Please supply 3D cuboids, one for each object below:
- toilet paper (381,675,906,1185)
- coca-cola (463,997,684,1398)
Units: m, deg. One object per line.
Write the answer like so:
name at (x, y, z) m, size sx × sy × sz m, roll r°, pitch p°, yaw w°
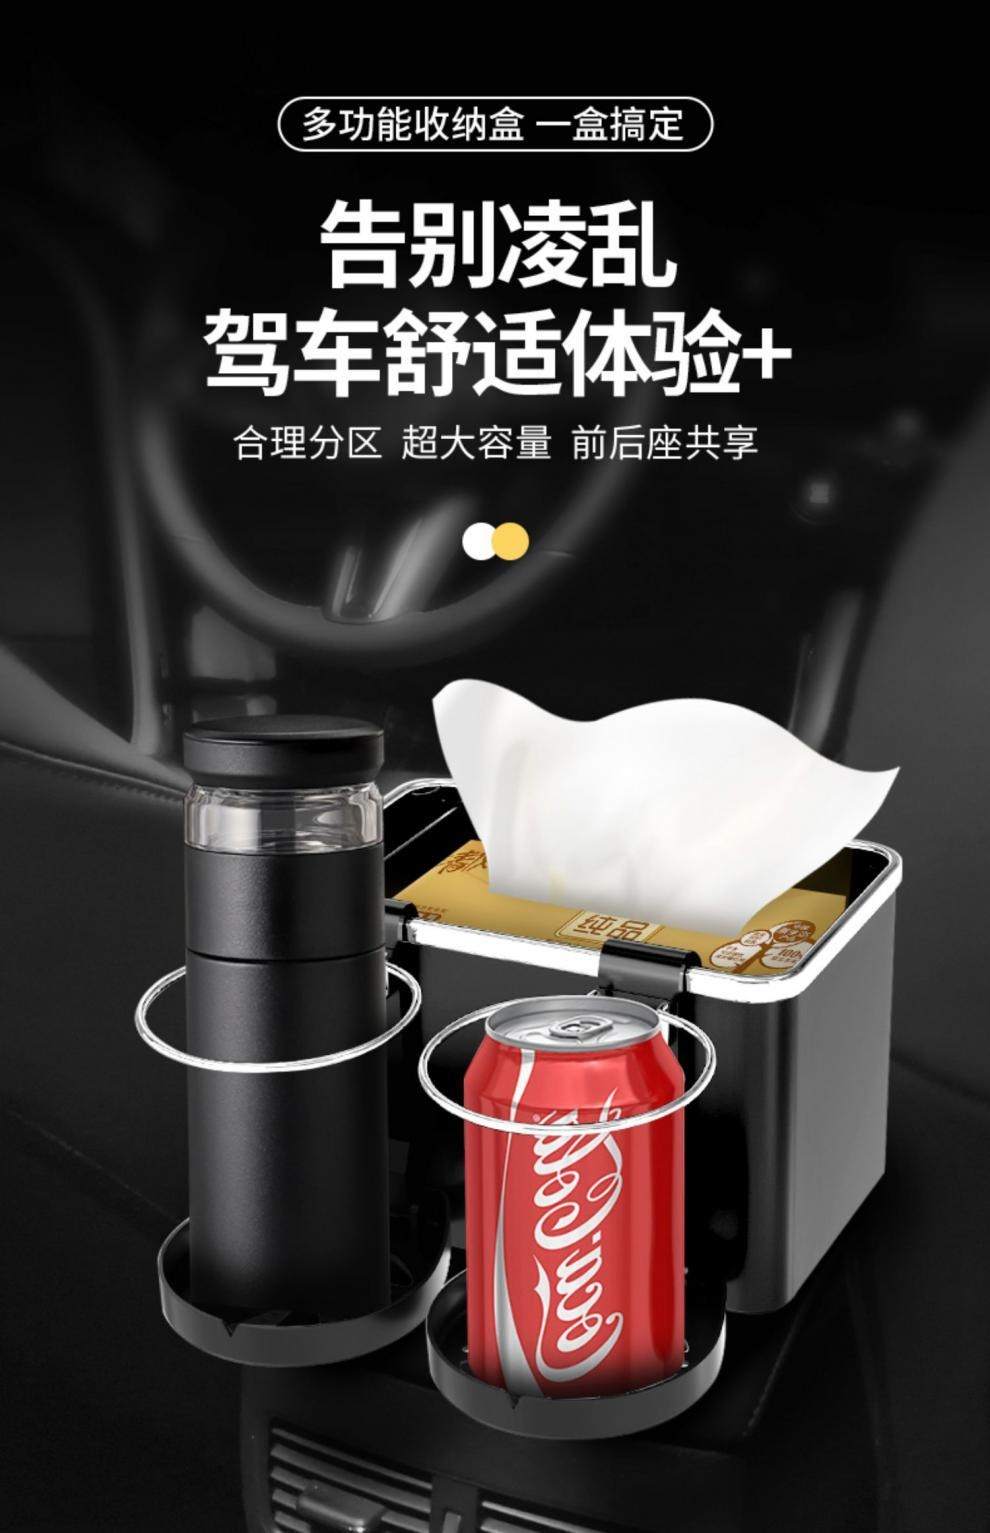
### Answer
toilet paper at (0.092, 0.097, 1.048) m, size 0.365 × 0.305 × 0.249 m, roll 4°, pitch 12°, yaw 28°
coca-cola at (0.044, 0.227, 0.746) m, size 0.119 × 0.205 × 0.129 m, roll -1°, pitch 33°, yaw -1°
